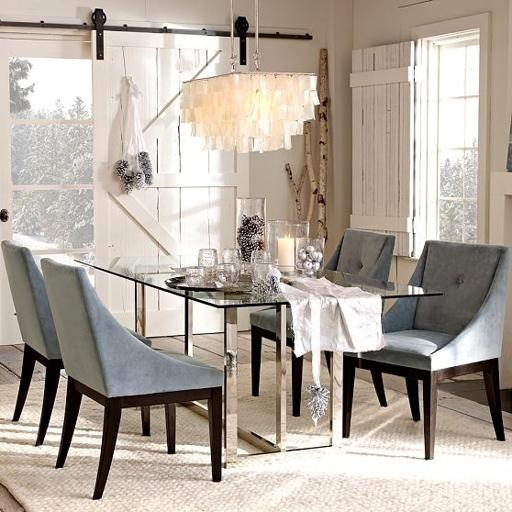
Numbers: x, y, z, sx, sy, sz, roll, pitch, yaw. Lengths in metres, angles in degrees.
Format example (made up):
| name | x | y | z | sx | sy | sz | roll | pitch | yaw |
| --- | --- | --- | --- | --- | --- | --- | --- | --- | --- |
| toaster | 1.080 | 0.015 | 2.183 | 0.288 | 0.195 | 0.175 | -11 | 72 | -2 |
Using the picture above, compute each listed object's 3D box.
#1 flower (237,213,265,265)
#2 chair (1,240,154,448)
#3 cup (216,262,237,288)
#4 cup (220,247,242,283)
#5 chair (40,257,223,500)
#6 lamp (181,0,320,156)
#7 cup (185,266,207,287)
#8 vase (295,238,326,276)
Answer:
| name | x | y | z | sx | sy | sz | roll | pitch | yaw |
| --- | --- | --- | --- | --- | --- | --- | --- | --- | --- |
| flower | -0.025 | -0.079 | 2.484 | 0.102 | 0.220 | 0.081 | 2 | 3 | 2 |
| chair | -0.980 | 0.276 | 2.977 | 0.750 | 1.526 | 0.741 | -1 | 5 | -30 |
| cup | -0.123 | 0.079 | 2.284 | 0.074 | 0.094 | 0.085 | 1 | -1 | -11 |
| cup | -0.116 | 0.039 | 2.324 | 0.098 | 0.203 | 0.115 | -3 | 0 | -9 |
| chair | -0.517 | 0.348 | 2.359 | 0.689 | 1.278 | 0.620 | -2 | 4 | -28 |
| lamp | -0.042 | -0.677 | 2.612 | 0.667 | 0.353 | 0.387 | 0 | 1 | -1 |
| cup | -0.246 | 0.082 | 2.276 | 0.068 | 0.082 | 0.069 | 0 | -1 | 0 |
| vase | 0.251 | 0.011 | 2.583 | 0.129 | 0.196 | 0.151 | 1 | -3 | -1 |
